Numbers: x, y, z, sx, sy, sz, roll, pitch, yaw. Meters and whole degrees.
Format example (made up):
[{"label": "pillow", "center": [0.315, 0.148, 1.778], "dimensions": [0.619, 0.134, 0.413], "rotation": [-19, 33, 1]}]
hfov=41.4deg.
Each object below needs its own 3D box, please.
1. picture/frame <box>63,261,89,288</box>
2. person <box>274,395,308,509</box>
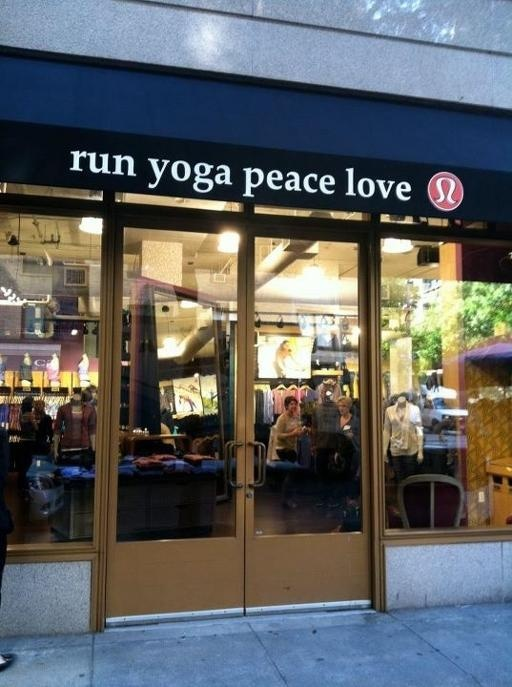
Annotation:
[{"label": "picture/frame", "center": [-1.345, -0.518, 5.099], "dimensions": [0.188, 0.168, 0.016], "rotation": [0, 0, -7]}, {"label": "person", "center": [0.291, 0.841, 5.474], "dimensions": [0.264, 0.780, 0.251], "rotation": [5, 11, 34]}]
